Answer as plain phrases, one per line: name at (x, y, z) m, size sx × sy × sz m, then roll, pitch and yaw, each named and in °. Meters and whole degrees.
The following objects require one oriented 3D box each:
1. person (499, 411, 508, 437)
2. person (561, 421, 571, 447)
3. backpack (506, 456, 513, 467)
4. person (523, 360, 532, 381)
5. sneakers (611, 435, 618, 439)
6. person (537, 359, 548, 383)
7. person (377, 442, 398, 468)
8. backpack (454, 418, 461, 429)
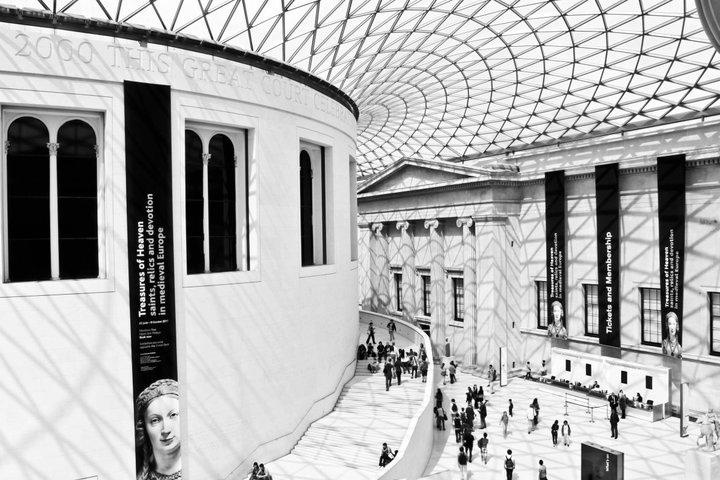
person at (8.094, 10.224, 36.816) m, size 0.337 × 1.384 × 1.970 m, roll -1°, pitch 1°, yaw 13°
person at (11.257, 10.379, 35.753) m, size 0.453 × 1.298 × 1.860 m, roll -1°, pitch 1°, yaw 17°
backpack at (7.207, 10.744, 31.673) m, size 0.383 × 0.426 × 0.338 m, roll -1°, pitch 1°, yaw 2°
person at (11.813, 9.150, 46.128) m, size 0.520 × 1.151 × 0.907 m, roll -1°, pitch 1°, yaw -8°
sneakers at (13.952, 10.837, 35.868) m, size 0.252 × 0.274 × 0.122 m, roll 0°, pitch -4°, yaw 23°
person at (12.652, 9.041, 45.200) m, size 0.618 × 1.390 × 0.930 m, roll -1°, pitch 0°, yaw 16°
person at (1.399, 9.816, 29.749) m, size 0.988 × 1.471 × 0.739 m, roll 10°, pitch -14°, yaw -26°
backpack at (5.326, 10.038, 35.961) m, size 0.347 × 0.566 × 0.436 m, roll -1°, pitch 1°, yaw 7°
